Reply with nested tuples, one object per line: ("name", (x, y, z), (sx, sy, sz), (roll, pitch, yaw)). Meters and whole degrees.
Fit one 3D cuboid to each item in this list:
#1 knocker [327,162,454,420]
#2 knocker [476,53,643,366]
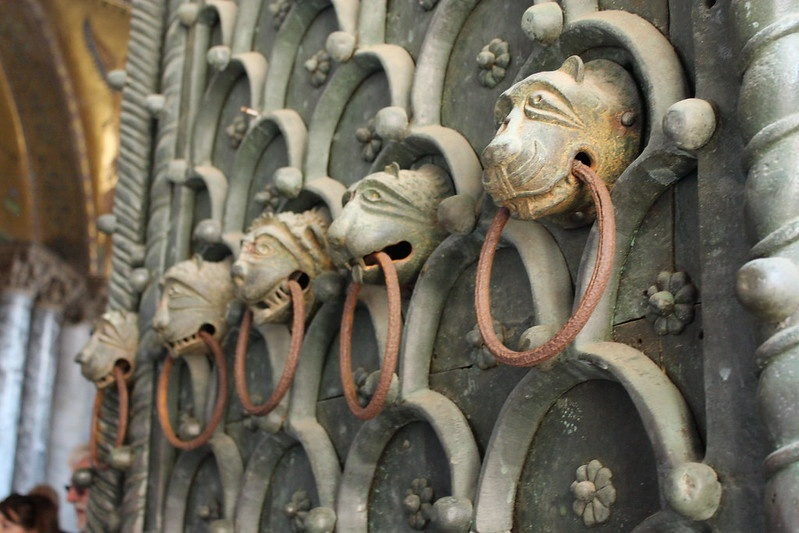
("knocker", (-0.030, 0.059, 9.270), (0.462, 0.942, 0.306), (-6, -24, 11))
("knocker", (0.574, -0.210, 8.986), (0.633, 1.080, 0.394), (-2, -23, 0))
